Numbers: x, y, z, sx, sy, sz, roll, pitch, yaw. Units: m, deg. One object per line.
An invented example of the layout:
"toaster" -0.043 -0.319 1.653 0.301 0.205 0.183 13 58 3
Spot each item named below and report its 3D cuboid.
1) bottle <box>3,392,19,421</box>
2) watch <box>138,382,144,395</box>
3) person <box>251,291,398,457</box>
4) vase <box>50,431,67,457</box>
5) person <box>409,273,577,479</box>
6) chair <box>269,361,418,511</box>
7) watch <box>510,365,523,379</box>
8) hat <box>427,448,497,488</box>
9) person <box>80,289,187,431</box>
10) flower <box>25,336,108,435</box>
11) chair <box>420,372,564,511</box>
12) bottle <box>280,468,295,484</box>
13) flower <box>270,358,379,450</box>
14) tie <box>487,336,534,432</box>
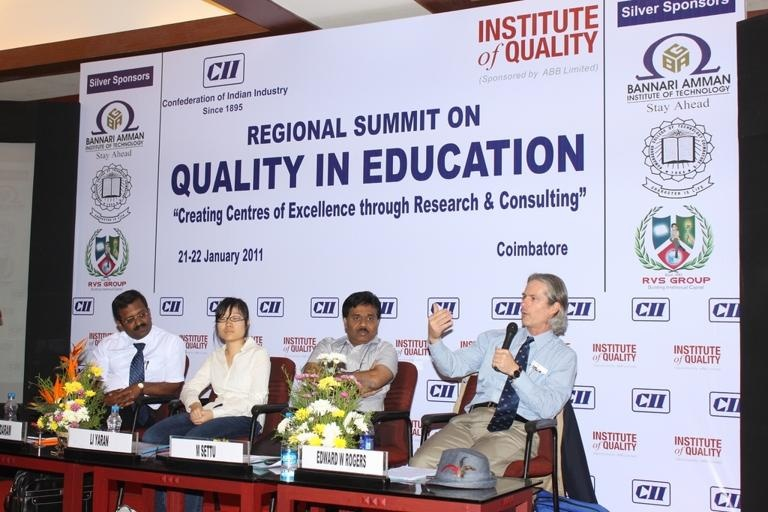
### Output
"bottle" -2.721 1.095 5.108 0.073 0.188 0.253 6 -9 -31
"watch" -2.063 1.122 5.925 0.053 0.087 0.081 8 -34 -23
"person" -0.327 1.084 5.521 0.845 1.522 0.885 5 -2 -40
"vase" -2.245 1.320 4.885 0.126 0.181 0.135 -7 -17 37
"person" 0.896 1.151 5.215 1.055 1.901 0.867 -5 2 0
"chair" -0.303 1.392 5.790 0.810 1.445 0.912 -7 -18 35
"watch" 0.914 0.805 4.888 0.086 0.045 0.065 -44 9 -31
"hat" 0.467 1.213 4.104 0.246 0.140 0.254 3 -12 18
"person" -2.210 1.131 6.163 0.810 1.579 0.840 1 3 3
"flower" -2.578 1.063 5.671 0.433 0.659 0.459 -3 -28 24
"chair" 0.611 1.311 4.800 0.626 1.139 0.746 -9 -21 32
"bottle" -0.580 1.319 4.200 0.076 0.088 0.080 0 -10 9
"flower" -0.379 0.946 4.488 0.505 0.642 0.652 5 -6 -8
"tie" 0.905 0.990 5.086 0.184 0.828 0.141 29 -21 -20
